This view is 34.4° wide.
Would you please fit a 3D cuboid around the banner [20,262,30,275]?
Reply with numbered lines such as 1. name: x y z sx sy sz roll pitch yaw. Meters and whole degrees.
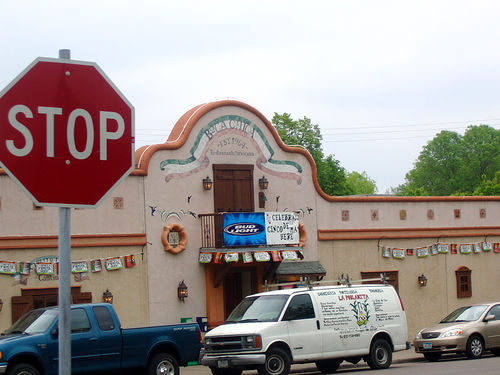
1. banner: -6.882 2.469 24.500 0.301 0.344 0.298 1 -1 -34

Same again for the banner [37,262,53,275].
1. banner: -6.344 2.504 24.691 0.341 0.260 0.050 6 -15 -30

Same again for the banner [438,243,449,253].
1. banner: 7.498 2.353 30.995 0.505 0.384 0.093 3 -15 -27

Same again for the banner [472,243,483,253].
1. banner: 8.940 2.395 31.538 0.319 0.373 0.046 7 -22 -37

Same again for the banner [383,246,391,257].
1. banner: 5.128 2.434 30.100 0.328 0.372 0.050 12 -26 -31

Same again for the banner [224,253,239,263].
1. banner: -0.596 2.304 26.242 0.489 0.312 0.396 -3 -14 -2

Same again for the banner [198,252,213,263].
1. banner: -1.475 2.341 26.876 0.586 0.406 0.135 -15 -18 38

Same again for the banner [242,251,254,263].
1. banner: -0.059 2.292 26.457 0.397 0.357 0.288 1 -14 -18

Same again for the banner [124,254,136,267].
1. banner: -3.920 2.398 26.036 0.394 0.393 0.069 5 -22 -40

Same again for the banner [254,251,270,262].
1. banner: 0.422 2.301 26.687 0.641 0.326 0.192 9 -18 -41

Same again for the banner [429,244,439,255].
1. banner: 7.077 2.406 30.838 0.404 0.479 0.062 2 -22 -9

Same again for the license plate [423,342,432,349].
1. license plate: 5.449 4.828 24.529 0.308 0.219 0.173 -1 -11 0

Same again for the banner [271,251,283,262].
1. banner: 0.887 2.302 26.918 0.321 0.414 0.043 6 -29 -24

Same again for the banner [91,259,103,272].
1. banner: -4.886 2.494 25.481 0.357 0.366 0.046 10 -23 -43

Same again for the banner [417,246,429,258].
1. banner: 6.604 2.490 30.625 0.478 0.409 0.078 3 -15 -25

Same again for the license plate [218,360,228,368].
1. license plate: -0.677 4.434 20.211 0.309 0.229 0.176 0 1 16

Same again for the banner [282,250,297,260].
1. banner: 1.353 2.268 27.093 0.546 0.328 0.215 5 -16 -33

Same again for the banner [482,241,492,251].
1. banner: 9.416 2.331 31.747 0.457 0.382 0.119 4 -15 -29

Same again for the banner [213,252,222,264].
1. banner: -1.062 2.371 26.613 0.323 0.625 0.328 1 -3 -16

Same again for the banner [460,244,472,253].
1. banner: 8.464 2.398 31.333 0.538 0.349 0.090 4 -15 -28
